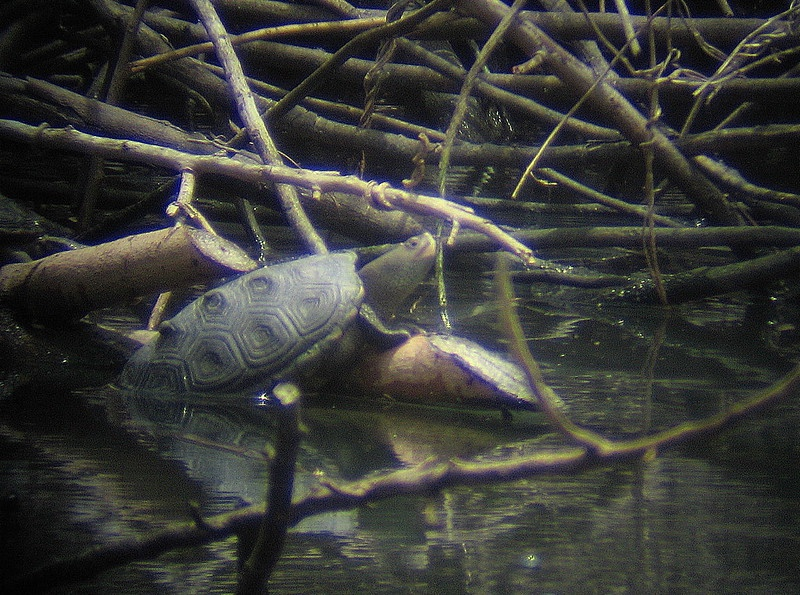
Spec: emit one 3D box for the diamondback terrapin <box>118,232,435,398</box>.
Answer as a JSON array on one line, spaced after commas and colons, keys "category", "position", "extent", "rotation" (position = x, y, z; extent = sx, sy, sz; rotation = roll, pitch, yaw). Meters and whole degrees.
[{"category": "diamondback terrapin", "position": [-0.621, 0.133, 6.525], "extent": [1.685, 0.397, 0.852], "rotation": [-16, 23, 9]}]
